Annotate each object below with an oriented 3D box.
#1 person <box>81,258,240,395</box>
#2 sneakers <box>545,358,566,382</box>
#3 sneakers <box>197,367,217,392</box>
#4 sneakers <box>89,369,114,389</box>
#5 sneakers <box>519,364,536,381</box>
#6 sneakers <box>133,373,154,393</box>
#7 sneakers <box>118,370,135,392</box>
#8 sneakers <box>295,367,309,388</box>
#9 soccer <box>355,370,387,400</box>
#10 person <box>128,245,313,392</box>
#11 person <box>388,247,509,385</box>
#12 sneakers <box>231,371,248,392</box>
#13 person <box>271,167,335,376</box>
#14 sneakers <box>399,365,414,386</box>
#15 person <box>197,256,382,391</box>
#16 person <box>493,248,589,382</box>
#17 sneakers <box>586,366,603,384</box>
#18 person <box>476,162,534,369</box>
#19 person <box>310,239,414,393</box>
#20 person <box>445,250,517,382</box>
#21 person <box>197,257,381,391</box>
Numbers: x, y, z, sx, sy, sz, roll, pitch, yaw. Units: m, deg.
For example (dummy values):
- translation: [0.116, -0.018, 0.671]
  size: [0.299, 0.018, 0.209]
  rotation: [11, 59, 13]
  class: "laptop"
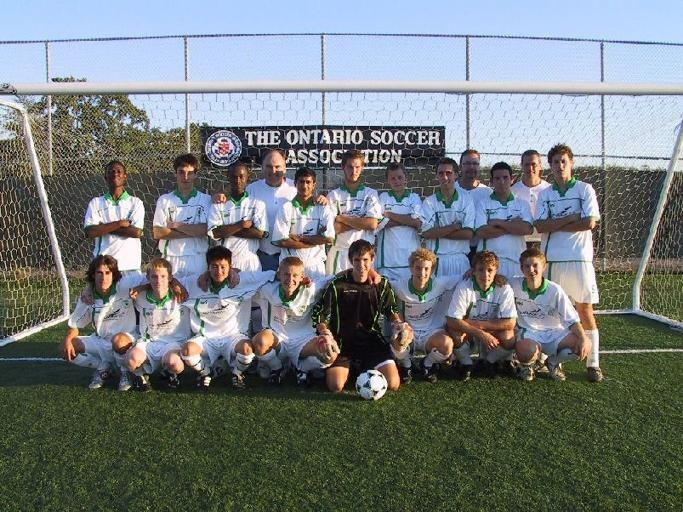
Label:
- translation: [-1.730, 0.582, 7.727]
  size: [1.344, 2.257, 1.173]
  rotation: [0, -3, -8]
  class: "person"
- translation: [2.080, 1.097, 7.377]
  size: [0.096, 0.133, 0.296]
  rotation: [-5, 0, -1]
  class: "sneakers"
- translation: [-1.292, 1.142, 7.242]
  size: [0.131, 0.102, 0.299]
  rotation: [14, 19, -5]
  class: "sneakers"
- translation: [-2.331, 1.159, 7.242]
  size: [0.183, 0.133, 0.253]
  rotation: [-1, 10, -3]
  class: "sneakers"
- translation: [1.784, 1.115, 7.333]
  size: [0.084, 0.117, 0.260]
  rotation: [0, -4, -10]
  class: "sneakers"
- translation: [-1.872, 1.170, 7.132]
  size: [0.161, 0.150, 0.168]
  rotation: [-3, 10, -17]
  class: "sneakers"
- translation: [-2.068, 1.164, 7.156]
  size: [0.198, 0.158, 0.140]
  rotation: [6, 11, 32]
  class: "sneakers"
- translation: [-0.367, 1.144, 7.210]
  size: [0.125, 0.139, 0.188]
  rotation: [-1, 10, -5]
  class: "sneakers"
- translation: [0.277, 1.150, 6.878]
  size: [0.241, 0.262, 0.242]
  rotation: [4, 0, 0]
  class: "soccer"
- translation: [-1.162, 0.602, 7.347]
  size: [1.755, 1.380, 0.625]
  rotation: [-4, -2, 2]
  class: "person"
- translation: [0.736, 0.581, 7.394]
  size: [1.701, 1.258, 0.685]
  rotation: [2, -2, -9]
  class: "person"
- translation: [-0.965, 1.163, 7.164]
  size: [0.139, 0.141, 0.176]
  rotation: [-2, 10, -8]
  class: "sneakers"
- translation: [-0.375, 0.049, 7.896]
  size: [0.545, 1.932, 0.456]
  rotation: [-2, 23, -3]
  class: "person"
- translation: [0.617, 1.130, 7.236]
  size: [0.097, 0.160, 0.154]
  rotation: [-2, -16, 5]
  class: "sneakers"
- translation: [-0.455, 0.611, 7.319]
  size: [1.507, 1.203, 0.739]
  rotation: [3, 5, 18]
  class: "person"
- translation: [1.932, 0.561, 7.336]
  size: [0.847, 1.231, 0.703]
  rotation: [1, 7, 25]
  class: "person"
- translation: [2.438, 1.108, 7.288]
  size: [0.149, 0.116, 0.263]
  rotation: [3, 11, 19]
  class: "sneakers"
- translation: [1.718, -0.080, 8.015]
  size: [0.559, 1.821, 0.523]
  rotation: [4, 24, 23]
  class: "person"
- translation: [0.199, 0.544, 7.181]
  size: [0.936, 1.320, 0.793]
  rotation: [1, 19, 1]
  class: "person"
- translation: [1.410, 0.539, 7.349]
  size: [0.753, 1.203, 0.464]
  rotation: [-8, 12, -39]
  class: "person"
- translation: [-0.478, 0.622, 7.365]
  size: [1.540, 1.226, 0.727]
  rotation: [3, 6, 18]
  class: "person"
